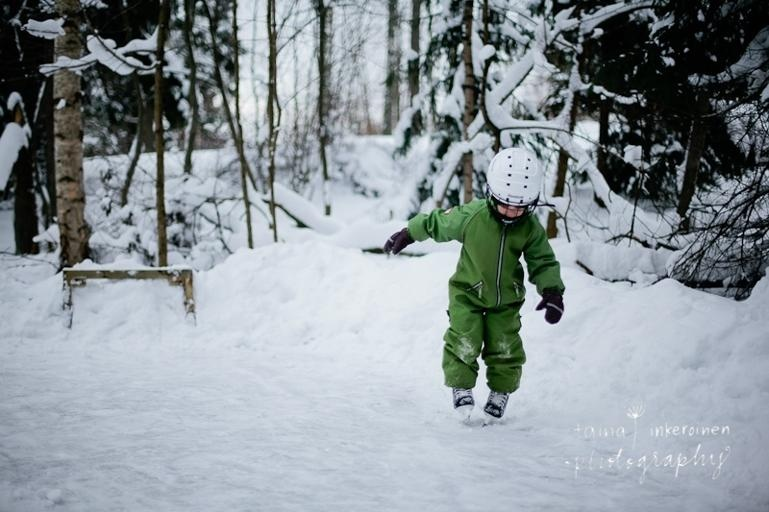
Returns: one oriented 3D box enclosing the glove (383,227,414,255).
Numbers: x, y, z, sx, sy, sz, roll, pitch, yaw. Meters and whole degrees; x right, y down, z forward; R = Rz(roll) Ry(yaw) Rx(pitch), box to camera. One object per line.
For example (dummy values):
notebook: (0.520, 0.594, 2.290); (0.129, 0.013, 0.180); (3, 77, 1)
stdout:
glove: (0.172, -0.128, 10.691); (0.407, 0.134, 0.258); (-39, 66, -21)

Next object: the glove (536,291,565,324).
glove: (2.100, 0.636, 10.380); (0.315, 0.443, 0.179); (8, -8, 10)

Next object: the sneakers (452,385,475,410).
sneakers: (0.987, 1.814, 10.419); (0.229, 0.265, 0.288); (10, 47, -9)
